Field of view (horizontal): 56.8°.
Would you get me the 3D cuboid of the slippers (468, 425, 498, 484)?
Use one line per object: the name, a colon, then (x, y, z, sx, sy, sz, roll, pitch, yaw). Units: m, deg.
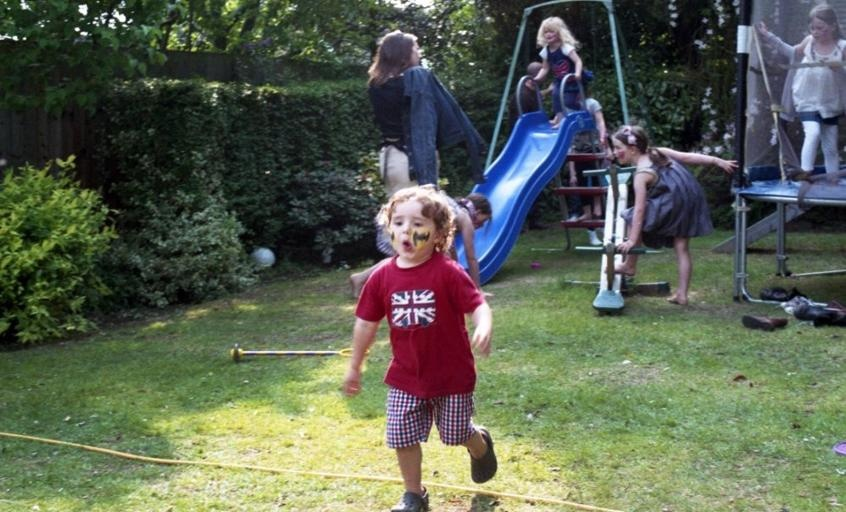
slippers: (0.408, 1.351, 5.336, 0.198, 0.352, 0.162, -3, 5, 31)

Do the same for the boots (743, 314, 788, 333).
boots: (3.132, 0.612, 7.141, 0.408, 0.123, 0.194, -2, 6, 5)

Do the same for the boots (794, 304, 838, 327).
boots: (3.609, 0.546, 7.233, 0.194, 0.175, 0.327, -7, 7, -36)

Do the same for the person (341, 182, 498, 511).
person: (-0.028, 0.614, 5.151, 0.954, 2.127, 0.432, -2, 7, 4)

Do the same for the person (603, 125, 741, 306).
person: (2.431, -0.420, 7.892, 1.024, 1.795, 0.601, -3, 7, -3)

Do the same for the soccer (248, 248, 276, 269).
soccer: (-2.156, 0.026, 10.609, 0.316, 0.268, 0.294, -5, 4, 2)
